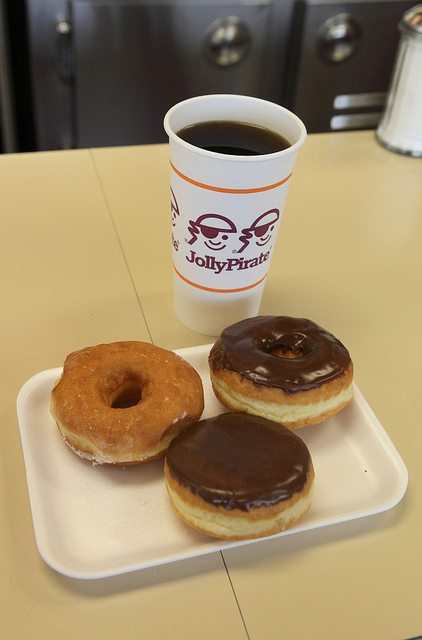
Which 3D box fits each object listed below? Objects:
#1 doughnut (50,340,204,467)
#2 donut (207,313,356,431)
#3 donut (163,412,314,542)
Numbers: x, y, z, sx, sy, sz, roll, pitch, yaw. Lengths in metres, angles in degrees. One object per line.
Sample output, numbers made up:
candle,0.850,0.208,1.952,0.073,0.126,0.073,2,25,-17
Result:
doughnut,-0.090,0.087,0.612,0.160,0.064,0.153,-8,38,-20
donut,0.086,0.053,0.662,0.175,0.065,0.165,-10,32,-22
donut,0.026,0.143,0.536,0.133,0.055,0.116,-1,36,-10
